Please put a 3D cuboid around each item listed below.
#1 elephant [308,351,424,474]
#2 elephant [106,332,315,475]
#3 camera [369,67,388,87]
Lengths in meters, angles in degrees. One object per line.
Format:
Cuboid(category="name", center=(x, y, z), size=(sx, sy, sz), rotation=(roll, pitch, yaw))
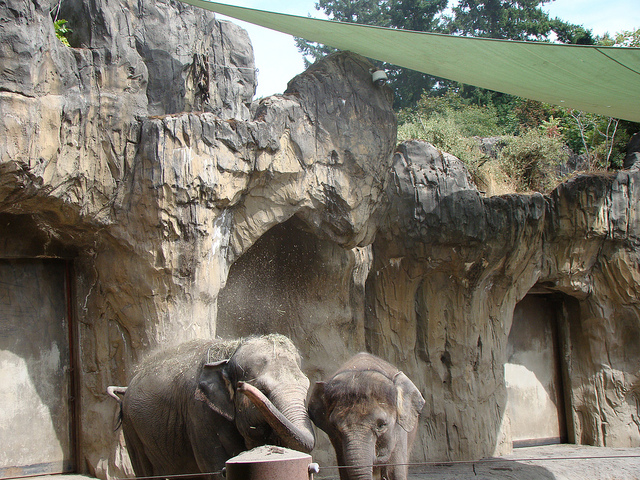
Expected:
Cuboid(category="elephant", center=(0.489, 1.637, 8.155), size=(0.699, 1.007, 1.372), rotation=(-3, -27, 5))
Cuboid(category="elephant", center=(-0.999, 1.600, 8.283), size=(0.627, 1.332, 2.605), rotation=(8, -13, -42))
Cuboid(category="camera", center=(0.742, -2.074, 10.884), size=(0.147, 0.273, 0.253), rotation=(-12, -4, -10))
